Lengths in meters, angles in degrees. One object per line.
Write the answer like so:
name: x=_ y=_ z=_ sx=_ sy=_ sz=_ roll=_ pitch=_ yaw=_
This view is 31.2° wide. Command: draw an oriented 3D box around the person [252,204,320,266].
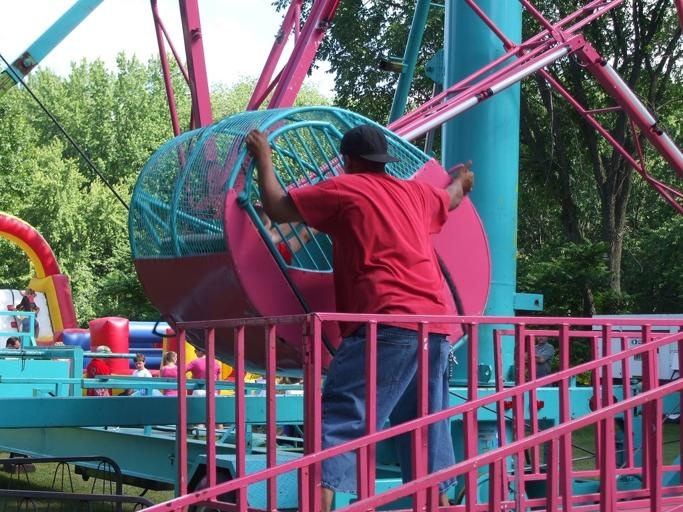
person: x=-0.670 y=-0.273 z=14.793 sx=0.602 sy=0.748 sz=0.294 roll=-38 pitch=-2 yaw=-20

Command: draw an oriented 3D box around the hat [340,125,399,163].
hat: x=0.287 y=-1.263 z=13.886 sx=0.396 sy=0.311 sz=0.544 roll=-4 pitch=13 yaw=-40
